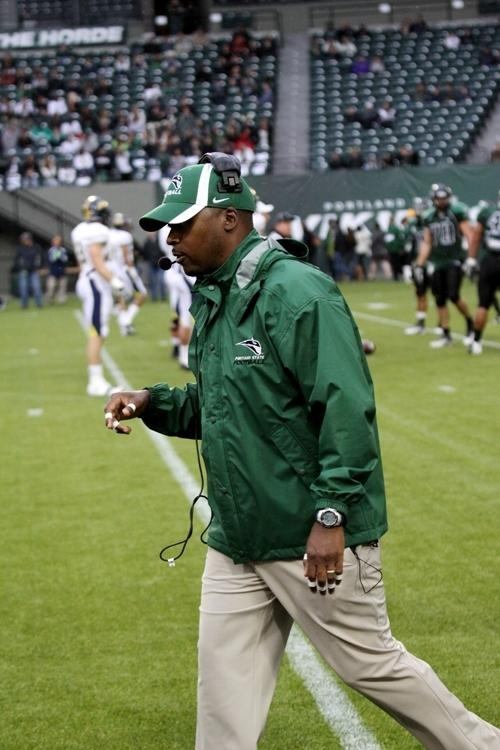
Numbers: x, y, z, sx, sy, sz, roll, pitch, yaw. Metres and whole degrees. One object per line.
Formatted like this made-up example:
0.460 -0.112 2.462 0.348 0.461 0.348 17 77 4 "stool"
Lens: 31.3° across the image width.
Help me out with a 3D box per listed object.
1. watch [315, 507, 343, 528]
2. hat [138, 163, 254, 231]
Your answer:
0.165 0.296 1.862 0.071 0.037 0.063 1 -3 3 "watch"
-0.122 -0.422 2.131 0.263 0.120 0.151 -5 12 -17 "hat"
